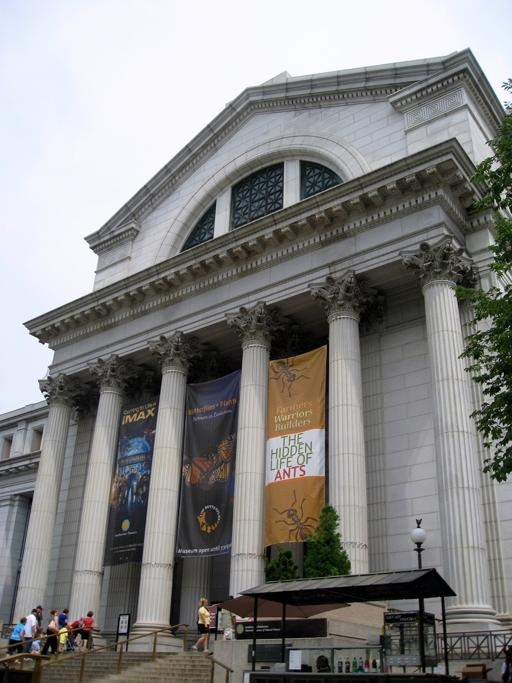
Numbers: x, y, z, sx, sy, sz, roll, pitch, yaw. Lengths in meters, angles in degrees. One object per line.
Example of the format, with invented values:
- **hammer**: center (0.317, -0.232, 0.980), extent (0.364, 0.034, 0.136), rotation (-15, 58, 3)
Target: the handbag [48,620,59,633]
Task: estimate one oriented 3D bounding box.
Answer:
- **handbag**: center (-5.895, 8.230, 18.667), extent (0.256, 0.262, 0.344), rotation (-1, -35, -8)
